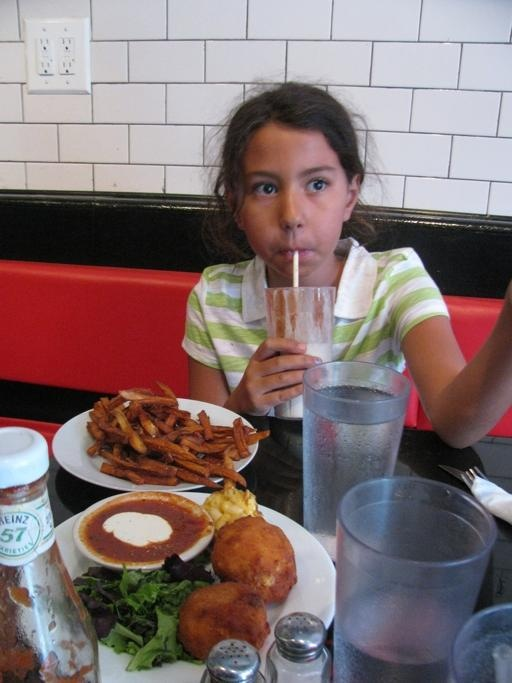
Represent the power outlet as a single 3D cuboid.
[{"bbox_3d":[-0.628,-0.912,1.842,0.214,0.222,0.032,7,17,12],"label":"power outlet"}]
